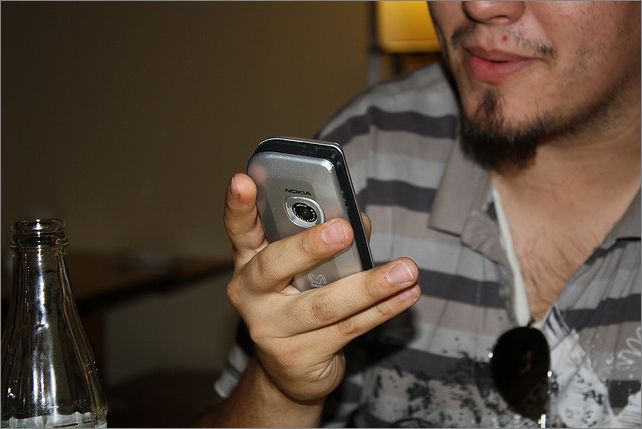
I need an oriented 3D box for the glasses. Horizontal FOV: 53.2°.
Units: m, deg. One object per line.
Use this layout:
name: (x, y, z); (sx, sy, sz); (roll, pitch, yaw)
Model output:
glasses: (0.468, 0.362, 1.486); (0.141, 0.212, 0.049); (-25, -12, 28)
